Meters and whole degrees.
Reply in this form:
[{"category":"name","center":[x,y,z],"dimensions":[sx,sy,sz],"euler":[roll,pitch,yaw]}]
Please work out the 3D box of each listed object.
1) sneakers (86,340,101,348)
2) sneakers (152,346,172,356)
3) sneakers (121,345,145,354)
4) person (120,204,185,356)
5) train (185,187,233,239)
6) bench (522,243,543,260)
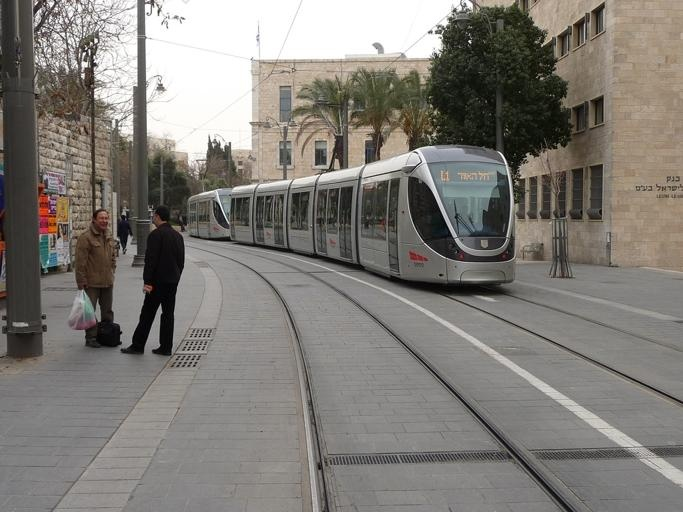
[{"category":"sneakers","center":[-3.588,1.275,9.028],"dimensions":[0.241,0.106,0.082],"euler":[-2,-2,45]},{"category":"sneakers","center":[-2.503,1.316,8.683],"dimensions":[0.340,0.112,0.159],"euler":[-2,4,16]},{"category":"sneakers","center":[-2.925,1.287,8.759],"dimensions":[0.323,0.158,0.125],"euler":[7,2,14]},{"category":"person","center":[-2.619,0.333,8.841],"dimensions":[0.782,2.053,0.717],"euler":[-4,4,-14]},{"category":"train","center":[-8.745,-2.538,42.640],"dimensions":[2.064,2.648,7.445],"euler":[-1,0,-19]},{"category":"bench","center":[9.555,-0.172,31.458],"dimensions":[0.854,1.116,1.075],"euler":[1,-2,-28]}]
